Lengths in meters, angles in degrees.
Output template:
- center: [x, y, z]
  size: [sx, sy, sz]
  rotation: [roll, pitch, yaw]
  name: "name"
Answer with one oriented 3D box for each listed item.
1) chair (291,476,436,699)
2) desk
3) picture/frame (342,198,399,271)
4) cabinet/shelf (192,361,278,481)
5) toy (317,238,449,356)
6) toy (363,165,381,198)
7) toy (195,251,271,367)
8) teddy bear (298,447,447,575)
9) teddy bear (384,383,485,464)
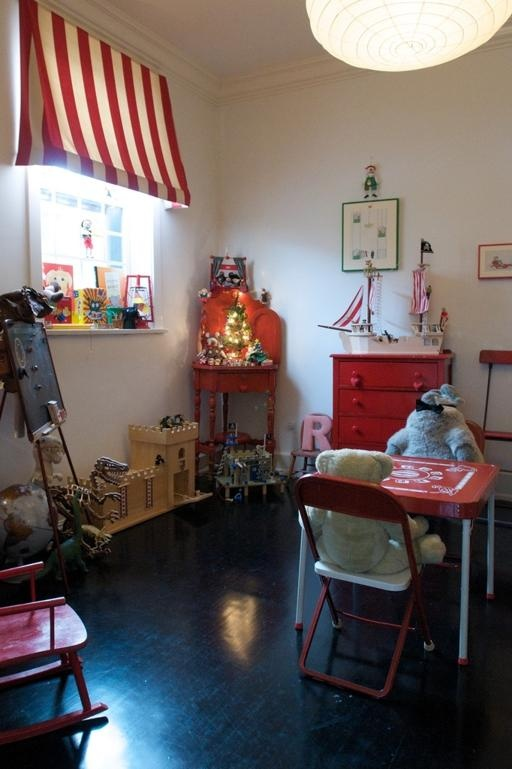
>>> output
- center: [0.362, 0.596, 1.809]
  size: [0.358, 0.658, 0.399]
  rotation: [1, 5, 29]
  name: "chair"
- center: [0.495, 0.654, 2.006]
  size: [0.684, 0.475, 0.731]
  rotation: [8, -15, -2]
  name: "desk"
- center: [0.876, -1.140, 4.161]
  size: [0.555, 0.678, 0.031]
  rotation: [2, 6, 30]
  name: "picture/frame"
- center: [-0.089, 0.257, 4.609]
  size: [0.688, 0.878, 0.776]
  rotation: [-1, 5, -19]
  name: "cabinet/shelf"
- center: [0.924, -0.600, 3.903]
  size: [0.761, 0.764, 0.457]
  rotation: [-1, 6, 12]
  name: "toy"
- center: [0.852, -1.515, 4.131]
  size: [0.122, 0.246, 0.057]
  rotation: [1, 3, 22]
  name: "toy"
- center: [-0.181, -0.613, 4.514]
  size: [0.594, 0.911, 0.585]
  rotation: [0, 3, -6]
  name: "toy"
- center: [0.383, 0.396, 1.842]
  size: [0.448, 0.444, 0.270]
  rotation: [2, 11, 30]
  name: "teddy bear"
- center: [0.868, 0.249, 2.671]
  size: [0.290, 0.479, 0.437]
  rotation: [9, -9, -44]
  name: "teddy bear"
